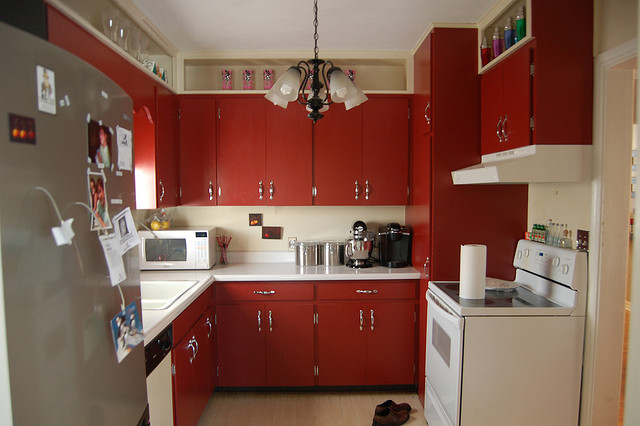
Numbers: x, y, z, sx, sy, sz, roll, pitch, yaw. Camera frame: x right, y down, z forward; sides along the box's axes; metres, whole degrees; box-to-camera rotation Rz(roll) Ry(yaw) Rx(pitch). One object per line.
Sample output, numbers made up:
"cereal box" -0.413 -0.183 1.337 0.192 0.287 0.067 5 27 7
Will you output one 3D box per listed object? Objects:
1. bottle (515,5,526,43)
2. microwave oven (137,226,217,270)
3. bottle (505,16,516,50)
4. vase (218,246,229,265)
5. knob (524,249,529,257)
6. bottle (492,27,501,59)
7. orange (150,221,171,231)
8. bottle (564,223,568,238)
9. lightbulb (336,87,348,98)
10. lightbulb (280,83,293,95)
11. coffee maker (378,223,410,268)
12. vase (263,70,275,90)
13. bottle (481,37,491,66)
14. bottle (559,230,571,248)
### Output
"bottle" 1.260 -1.201 2.981 0.037 0.225 0.077 0 2 2
"microwave oven" -1.147 0.255 3.835 0.556 0.353 0.433 4 6 4
"bottle" 1.239 -1.177 3.098 0.064 0.218 0.090 1 2 20
"vase" -0.825 0.359 4.118 0.093 0.158 0.174 1 2 20
"knob" 1.400 0.270 3.226 0.013 0.048 0.051 0 2 -7
"bottle" 1.201 -1.164 3.237 0.064 0.200 0.052 2 2 42
"orange" -1.321 0.107 3.920 0.079 0.046 0.105 -13 -8 31
"bottle" 1.577 0.114 3.046 0.018 0.082 0.059 1 2 31
"lightbulb" 0.119 -0.674 2.642 0.033 0.017 0.048 0 -15 -8
"lightbulb" -0.191 -0.692 2.645 0.049 0.047 0.040 1 3 10
"coffee maker" 0.577 0.252 3.922 0.229 0.344 0.288 2 7 -1
"vase" -0.430 -1.122 3.974 0.096 0.211 0.215 0 2 -7
"bottle" 1.163 -1.138 3.334 0.063 0.195 0.031 1 2 12
"bottle" 1.562 0.163 3.035 0.054 0.110 0.066 0 2 -6
